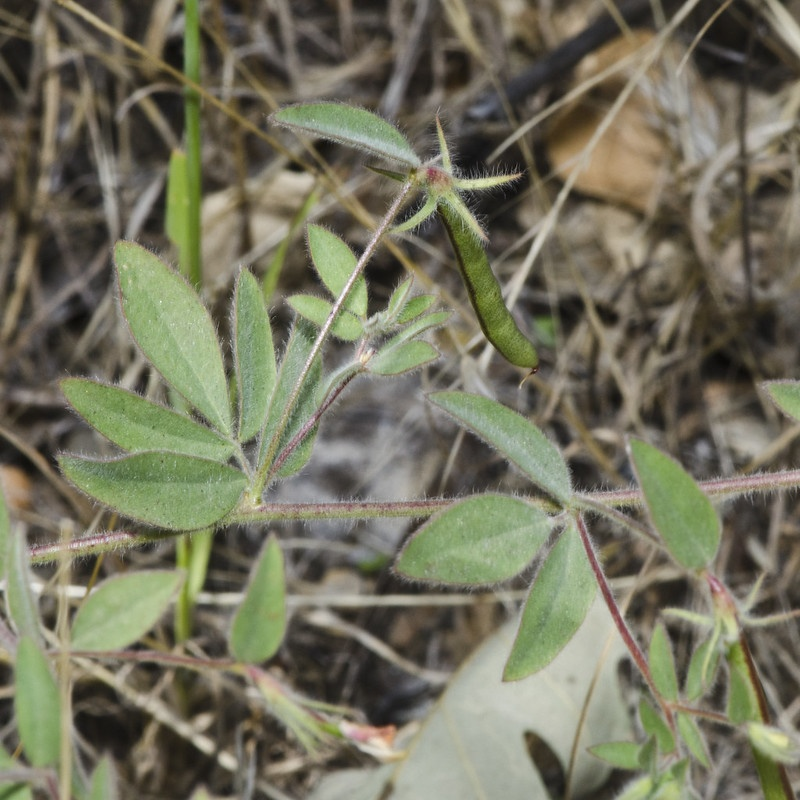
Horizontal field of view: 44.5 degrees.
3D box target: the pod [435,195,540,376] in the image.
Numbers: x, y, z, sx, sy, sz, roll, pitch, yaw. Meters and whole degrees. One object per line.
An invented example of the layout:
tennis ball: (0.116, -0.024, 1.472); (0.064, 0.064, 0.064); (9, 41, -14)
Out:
pod: (0.110, -0.126, 1.236); (0.063, 0.348, 0.052); (23, -62, -29)
